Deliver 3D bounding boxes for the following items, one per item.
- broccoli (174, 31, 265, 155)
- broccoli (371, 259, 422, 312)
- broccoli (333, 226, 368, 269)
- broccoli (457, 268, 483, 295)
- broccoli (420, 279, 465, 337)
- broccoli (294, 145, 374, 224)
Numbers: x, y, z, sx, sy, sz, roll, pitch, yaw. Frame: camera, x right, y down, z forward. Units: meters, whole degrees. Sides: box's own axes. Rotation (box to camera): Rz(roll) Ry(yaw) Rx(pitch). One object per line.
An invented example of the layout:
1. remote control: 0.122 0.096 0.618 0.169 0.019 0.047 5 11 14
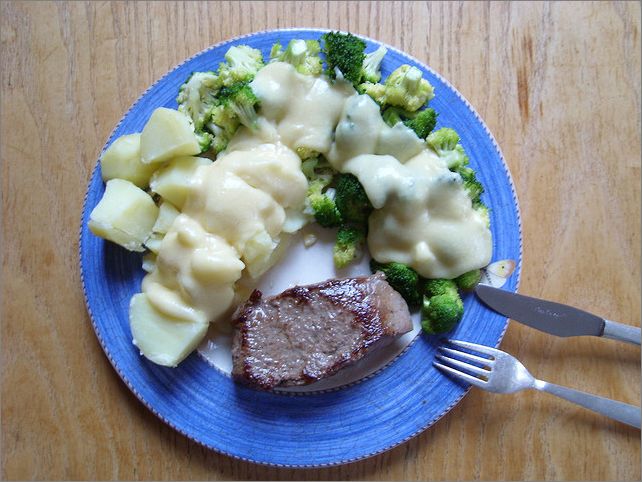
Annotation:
1. broccoli: -0.581 -0.868 4.804 0.619 0.300 0.520 -28 85 -4
2. broccoli: 0.474 0.227 4.811 0.181 0.198 0.345 -21 121 -30
3. broccoli: 0.163 0.019 4.932 0.209 0.324 0.137 -30 63 -14
4. broccoli: 0.906 0.236 4.792 0.149 0.061 0.106 -40 100 6
5. broccoli: 0.717 0.388 4.732 0.217 0.143 0.359 -1 91 3
6. broccoli: 0.061 -0.308 4.709 0.435 0.162 0.364 39 84 -2
